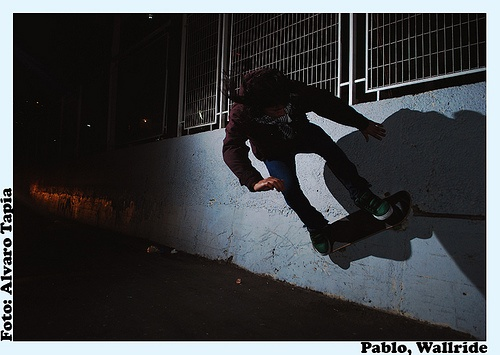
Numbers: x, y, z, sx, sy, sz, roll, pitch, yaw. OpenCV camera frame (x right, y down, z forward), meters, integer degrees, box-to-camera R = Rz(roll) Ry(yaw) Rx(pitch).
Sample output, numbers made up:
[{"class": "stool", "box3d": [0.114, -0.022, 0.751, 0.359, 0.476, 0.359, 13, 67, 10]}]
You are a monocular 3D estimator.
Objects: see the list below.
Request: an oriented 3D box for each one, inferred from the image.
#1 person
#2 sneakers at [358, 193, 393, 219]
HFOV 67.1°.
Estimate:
[{"class": "person", "box3d": [0.577, -0.261, 3.808, 1.300, 1.096, 2.004, -33, 47, -28]}, {"class": "sneakers", "box3d": [1.204, 0.272, 3.744, 0.363, 0.151, 0.159, 34, 11, 36]}]
